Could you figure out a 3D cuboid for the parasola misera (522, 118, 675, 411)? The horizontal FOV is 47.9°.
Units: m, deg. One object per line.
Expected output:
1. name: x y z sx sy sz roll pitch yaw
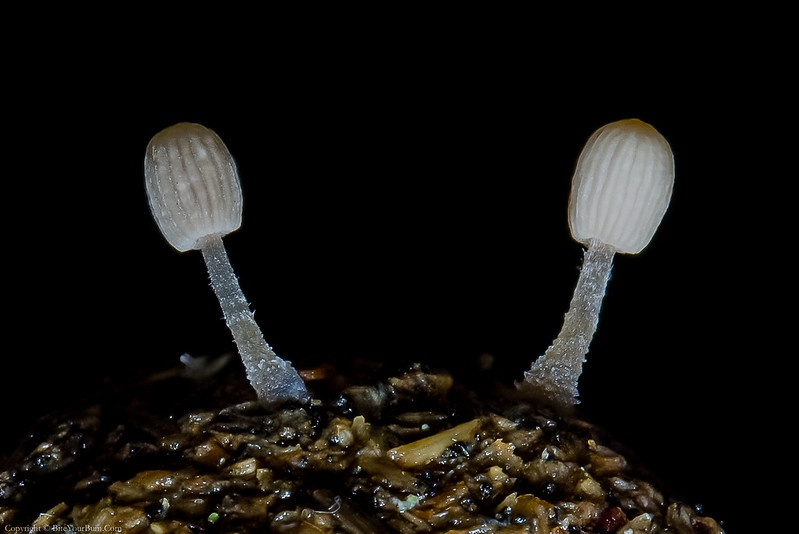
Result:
1. parasola misera: 1.112 -0.005 5.029 0.662 1.638 0.223 9 8 17
